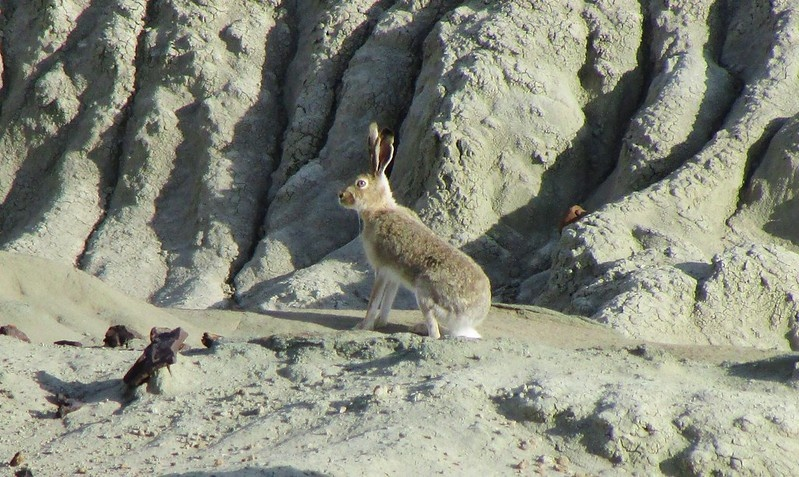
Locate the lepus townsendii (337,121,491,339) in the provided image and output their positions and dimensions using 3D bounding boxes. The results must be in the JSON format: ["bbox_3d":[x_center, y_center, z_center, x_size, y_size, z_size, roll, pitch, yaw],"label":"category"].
[{"bbox_3d":[0.276,0.096,29.145,2.758,3.497,0.680,21,2,25],"label":"lepus townsendii"}]
